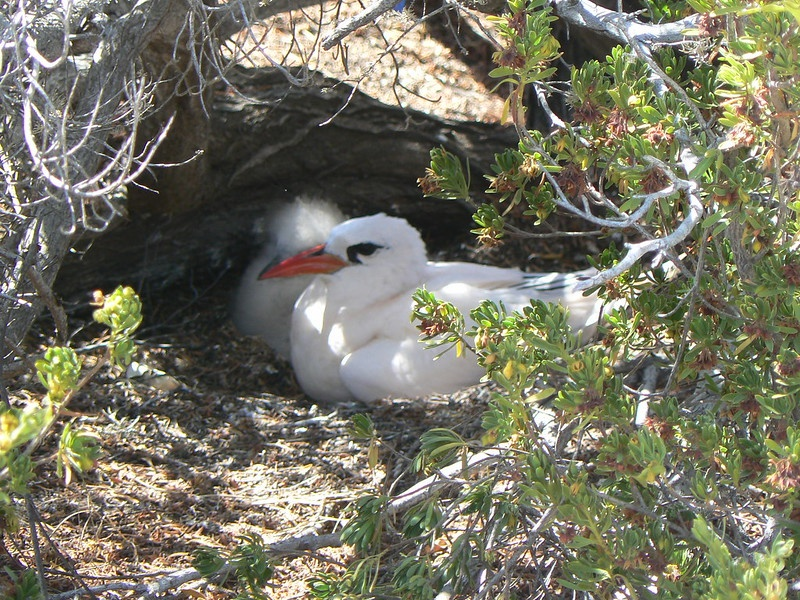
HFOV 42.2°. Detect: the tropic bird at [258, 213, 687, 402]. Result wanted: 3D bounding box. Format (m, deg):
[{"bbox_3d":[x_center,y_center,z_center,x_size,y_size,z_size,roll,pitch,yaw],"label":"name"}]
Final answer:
[{"bbox_3d":[0.245,0.000,4.918,1.537,0.877,0.822,-12,9,3],"label":"tropic bird"}]
